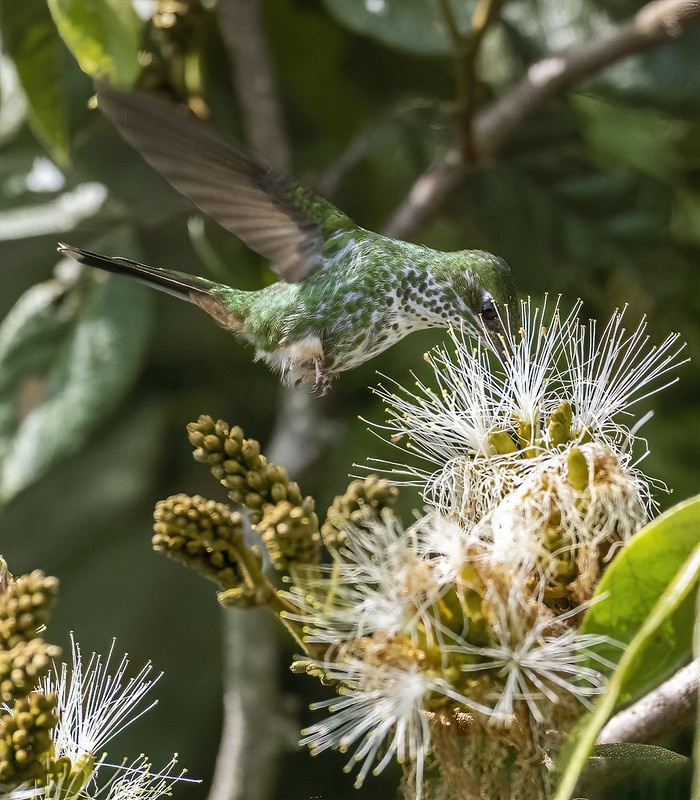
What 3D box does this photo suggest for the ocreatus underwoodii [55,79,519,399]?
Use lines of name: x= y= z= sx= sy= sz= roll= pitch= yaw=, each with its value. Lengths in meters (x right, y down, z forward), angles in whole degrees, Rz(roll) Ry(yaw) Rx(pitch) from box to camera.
ocreatus underwoodii: x=-0.104 y=-0.168 z=1.388 sx=0.669 sy=0.241 sz=0.427 roll=11 pitch=-12 yaw=-16
